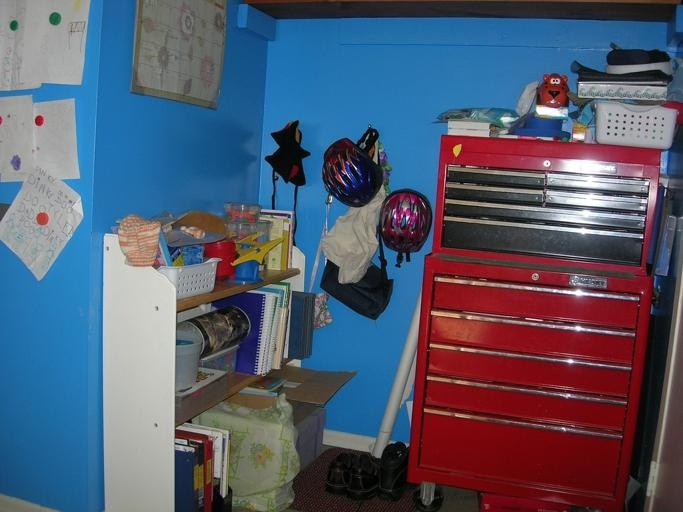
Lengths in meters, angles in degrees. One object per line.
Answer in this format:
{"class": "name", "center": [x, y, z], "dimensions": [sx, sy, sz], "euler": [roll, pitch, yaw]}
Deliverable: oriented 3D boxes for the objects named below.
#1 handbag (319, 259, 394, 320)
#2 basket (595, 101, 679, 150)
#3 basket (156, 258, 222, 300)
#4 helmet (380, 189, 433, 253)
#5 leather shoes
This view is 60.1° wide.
{"class": "handbag", "center": [0.083, 0.178, 3.180], "dimensions": [0.344, 0.311, 0.135], "euler": [32, -1, 0]}
{"class": "basket", "center": [1.280, -0.562, 2.574], "dimensions": [0.308, 0.217, 0.228], "euler": [7, 16, 10]}
{"class": "basket", "center": [-0.676, 0.088, 2.555], "dimensions": [0.237, 0.152, 0.330], "euler": [0, -7, -14]}
{"class": "helmet", "center": [0.338, -0.197, 3.103], "dimensions": [0.245, 0.328, 0.124], "euler": [4, 14, 10]}
{"class": "leather shoes", "center": [0.117, 1.124, 3.018], "dimensions": [0.229, 0.144, 0.375], "euler": [2, 3, 20]}
